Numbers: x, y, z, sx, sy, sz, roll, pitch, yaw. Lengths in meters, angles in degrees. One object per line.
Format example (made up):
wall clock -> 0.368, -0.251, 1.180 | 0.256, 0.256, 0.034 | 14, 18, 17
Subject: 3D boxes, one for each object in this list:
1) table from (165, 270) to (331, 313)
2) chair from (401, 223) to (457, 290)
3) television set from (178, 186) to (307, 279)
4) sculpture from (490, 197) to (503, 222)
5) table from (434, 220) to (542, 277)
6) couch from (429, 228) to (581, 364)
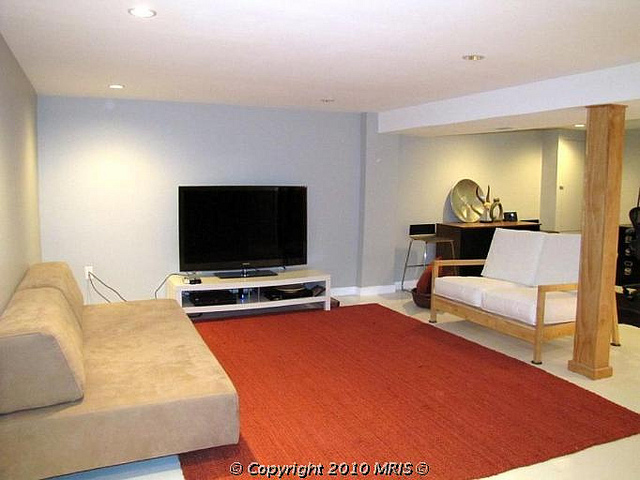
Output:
table -> -0.778, 0.676, 5.823 | 1.817, 0.471, 0.567 | -4, 7, -10
chair -> 1.533, 0.225, 7.359 | 0.527, 0.918, 0.534 | 4, 3, -4
television set -> -0.914, -0.131, 5.835 | 1.625, 1.074, 0.161 | -3, 11, -21
sculpture -> 2.899, -0.501, 7.686 | 0.291, 0.397, 0.100 | -6, 7, -37
table -> 2.321, 0.101, 6.971 | 1.737, 0.830, 0.698 | 2, 8, -18
couch -> 2.137, 0.457, 5.096 | 1.103, 1.100, 1.611 | -1, 6, -19
